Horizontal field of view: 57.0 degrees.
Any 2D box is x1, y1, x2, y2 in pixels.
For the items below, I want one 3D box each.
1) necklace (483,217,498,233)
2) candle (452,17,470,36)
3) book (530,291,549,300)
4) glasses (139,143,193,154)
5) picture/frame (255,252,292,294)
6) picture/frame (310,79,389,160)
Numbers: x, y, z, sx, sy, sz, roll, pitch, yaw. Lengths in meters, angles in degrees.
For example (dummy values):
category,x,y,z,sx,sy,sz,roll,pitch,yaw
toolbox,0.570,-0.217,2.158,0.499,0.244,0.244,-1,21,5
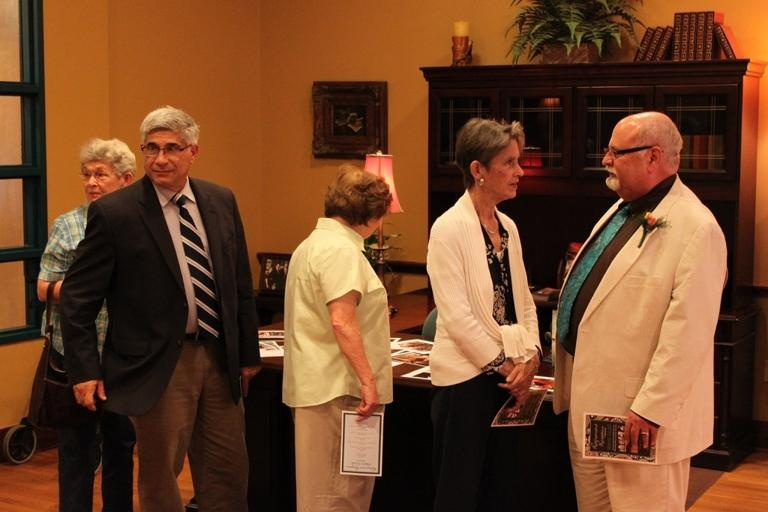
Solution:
category,x,y,z,sx,sy,sz,roll,pitch,yaw
necklace,0.533,-0.147,3.453,0.054,0.074,0.026,1,-23,-17
candle,0.705,-2.044,6.335,0.124,0.226,0.372,-1,5,10
book,1.212,0.303,5.442,0.119,0.029,0.123,3,10,18
glasses,-1.023,-0.509,3.344,0.235,0.056,0.114,-3,6,-17
picture/frame,-1.004,0.149,6.491,0.398,0.448,0.060,1,-14,8
picture/frame,-0.299,-1.362,6.943,0.890,0.891,0.112,1,2,19
